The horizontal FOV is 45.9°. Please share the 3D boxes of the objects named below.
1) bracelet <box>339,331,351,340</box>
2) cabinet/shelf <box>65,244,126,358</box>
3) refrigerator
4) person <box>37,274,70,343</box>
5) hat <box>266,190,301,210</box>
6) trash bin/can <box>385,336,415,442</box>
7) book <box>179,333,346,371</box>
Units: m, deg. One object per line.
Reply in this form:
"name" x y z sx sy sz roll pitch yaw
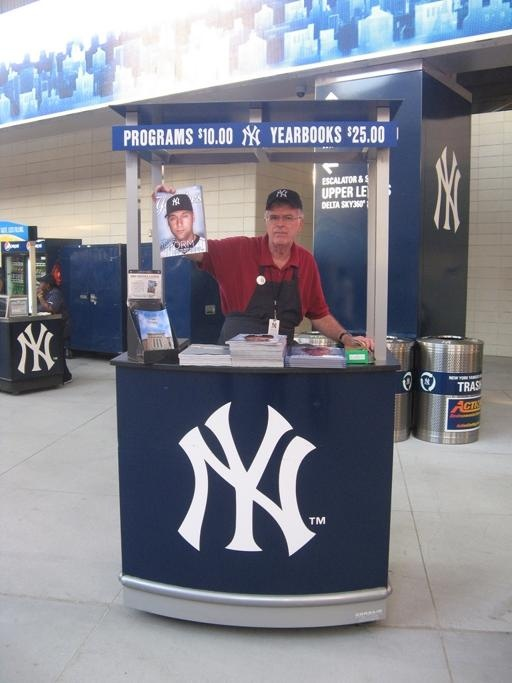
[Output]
"bracelet" 0.365 -0.023 2.531 0.035 0.019 0.049 -8 -1 11
"cabinet/shelf" -2.425 -0.683 9.339 0.949 1.693 0.984 -2 14 -12
"refrigerator" -3.051 -1.019 8.552 1.093 1.131 0.630 1 0 29
"person" -2.770 -0.451 8.247 0.384 0.895 0.847 -2 7 -19
"hat" 0.113 -0.602 2.555 0.146 0.093 0.144 0 6 1
"trash bin/can" 1.126 0.389 4.836 0.181 0.803 0.453 4 7 29
"book" 0.032 0.016 2.340 0.607 0.097 0.502 1 6 4
